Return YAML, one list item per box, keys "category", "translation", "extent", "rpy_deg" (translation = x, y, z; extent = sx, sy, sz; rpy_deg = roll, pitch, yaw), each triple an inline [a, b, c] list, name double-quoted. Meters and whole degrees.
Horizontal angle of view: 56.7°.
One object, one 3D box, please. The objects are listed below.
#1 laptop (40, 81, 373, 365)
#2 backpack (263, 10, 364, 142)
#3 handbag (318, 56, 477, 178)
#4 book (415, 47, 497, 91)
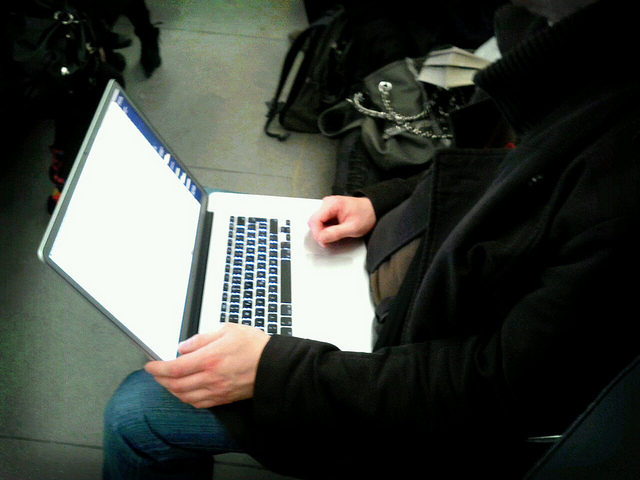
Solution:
- category: "laptop"
  translation: [-0.177, 0.026, 1.406]
  extent: [0.655, 0.442, 0.577]
  rpy_deg: [-5, 50, 6]
- category: "backpack"
  translation: [0.019, -0.594, 2.369]
  extent: [0.312, 0.137, 0.526]
  rpy_deg: [31, 102, 26]
- category: "handbag"
  translation: [0.297, -0.388, 2.261]
  extent: [0.495, 0.184, 0.478]
  rpy_deg: [-28, 71, 0]
- category: "book"
  translation: [0.439, -0.549, 1.915]
  extent: [0.296, 0.099, 0.275]
  rpy_deg: [-1, 29, -3]
